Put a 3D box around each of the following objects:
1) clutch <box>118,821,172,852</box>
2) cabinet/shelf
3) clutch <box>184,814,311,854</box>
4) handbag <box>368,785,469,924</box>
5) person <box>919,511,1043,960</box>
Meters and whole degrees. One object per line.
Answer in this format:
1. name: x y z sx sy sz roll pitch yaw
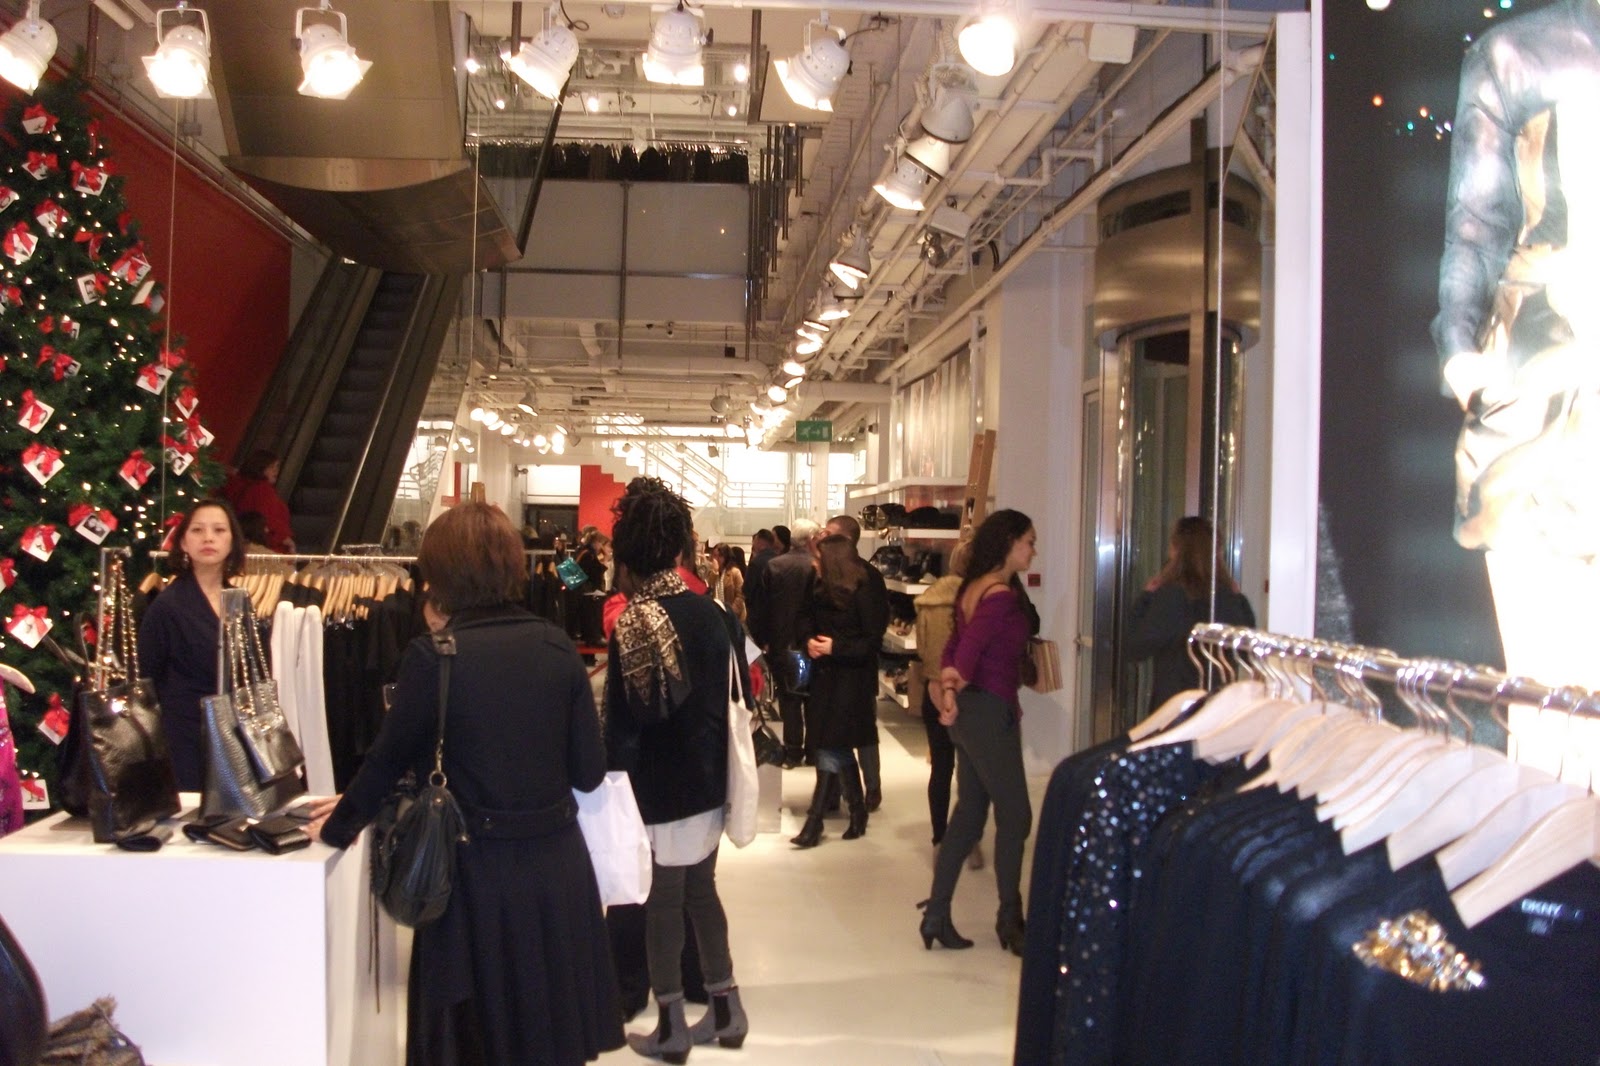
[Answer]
1. clutch: -1.833 0.847 3.305 0.063 0.028 0.088 -1 7 -4
2. cabinet/shelf: 0.694 0.483 7.166 0.796 1.473 1.571 5 2 12
3. clutch: -1.562 0.844 3.345 0.209 0.068 0.161 2 0 12
4. handbag: -1.081 0.915 3.405 0.242 0.360 0.137 -3 -12 29
5. person: 0.792 0.881 5.280 0.481 1.970 0.482 1 4 21
